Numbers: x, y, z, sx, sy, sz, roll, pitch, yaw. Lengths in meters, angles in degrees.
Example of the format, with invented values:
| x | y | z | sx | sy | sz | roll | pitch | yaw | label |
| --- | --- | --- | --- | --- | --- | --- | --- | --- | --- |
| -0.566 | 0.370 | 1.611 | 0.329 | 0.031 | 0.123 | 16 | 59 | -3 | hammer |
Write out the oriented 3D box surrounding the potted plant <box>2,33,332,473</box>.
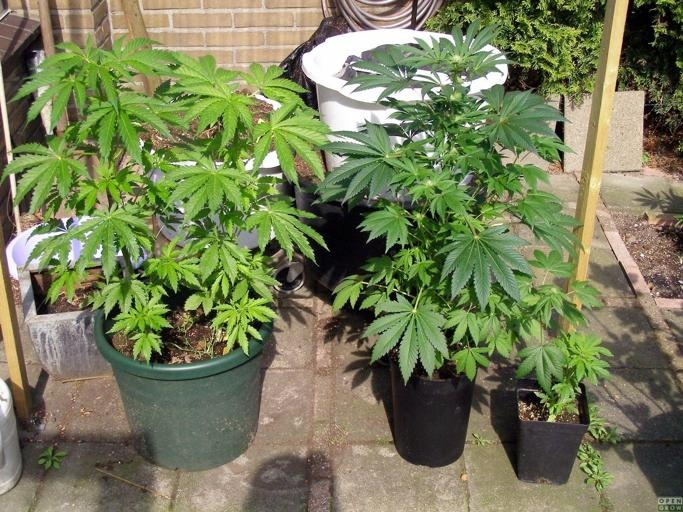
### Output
| x | y | z | sx | sy | sz | roll | pitch | yaw | label |
| --- | --- | --- | --- | --- | --- | --- | --- | --- | --- |
| -0.852 | 0.023 | 2.502 | 1.279 | 2.104 | 1.190 | -14 | 37 | -21 | potted plant |

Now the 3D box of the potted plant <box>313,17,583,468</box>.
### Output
| x | y | z | sx | sy | sz | roll | pitch | yaw | label |
| --- | --- | --- | --- | --- | --- | --- | --- | --- | --- |
| 0.486 | 0.006 | 2.483 | 1.195 | 2.150 | 1.300 | -1 | 34 | -2 | potted plant |

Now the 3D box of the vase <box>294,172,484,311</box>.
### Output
| x | y | z | sx | sy | sz | roll | pitch | yaw | label |
| --- | --- | --- | --- | --- | --- | --- | --- | --- | --- |
| 0.091 | -0.076 | 3.421 | 1.001 | 0.671 | 0.951 | -1 | 24 | -3 | vase |
